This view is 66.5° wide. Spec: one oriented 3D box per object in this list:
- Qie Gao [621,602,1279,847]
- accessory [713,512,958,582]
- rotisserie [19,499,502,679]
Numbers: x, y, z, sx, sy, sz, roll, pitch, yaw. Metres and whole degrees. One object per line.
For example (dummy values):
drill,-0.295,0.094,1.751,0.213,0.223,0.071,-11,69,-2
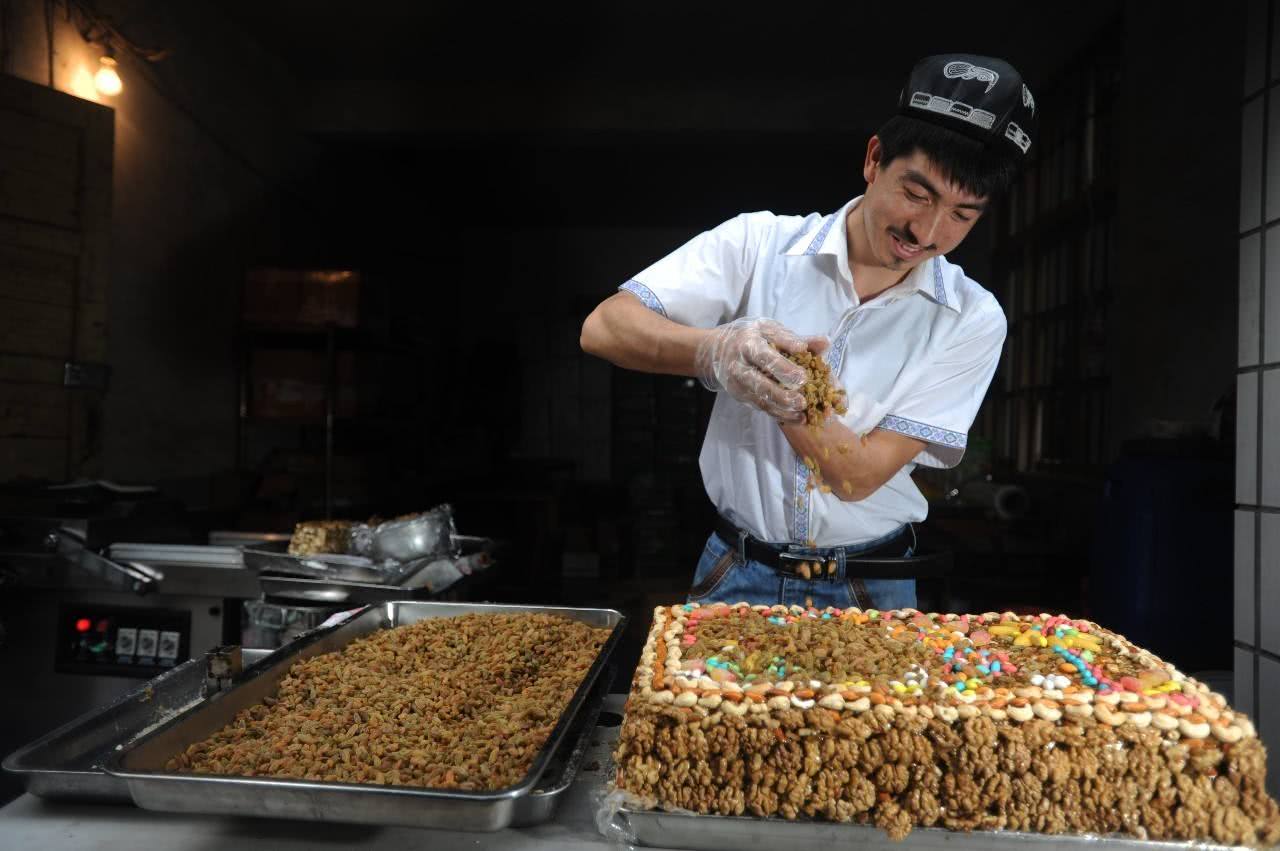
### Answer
Qie Gao,0.739,0.776,3.064,1.742,0.505,1.206,3,0,2
accessory,0.625,0.429,3.089,0.394,0.090,0.355,1,-1,9
rotisserie,-1.349,0.612,3.531,1.053,0.475,1.013,3,9,14
